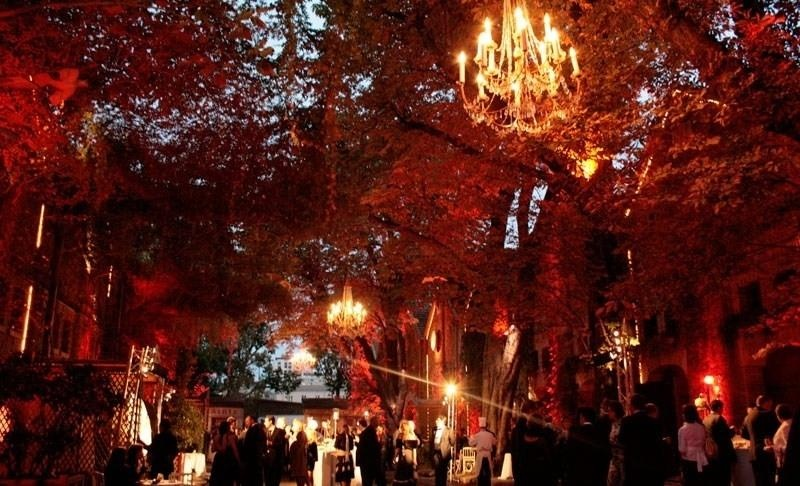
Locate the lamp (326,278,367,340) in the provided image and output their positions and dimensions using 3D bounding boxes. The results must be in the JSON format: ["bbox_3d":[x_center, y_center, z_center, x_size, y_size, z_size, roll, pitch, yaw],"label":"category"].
[{"bbox_3d":[-2.379,2.968,28.283,1.581,2.171,1.368,6,-23,-8],"label":"lamp"}]
